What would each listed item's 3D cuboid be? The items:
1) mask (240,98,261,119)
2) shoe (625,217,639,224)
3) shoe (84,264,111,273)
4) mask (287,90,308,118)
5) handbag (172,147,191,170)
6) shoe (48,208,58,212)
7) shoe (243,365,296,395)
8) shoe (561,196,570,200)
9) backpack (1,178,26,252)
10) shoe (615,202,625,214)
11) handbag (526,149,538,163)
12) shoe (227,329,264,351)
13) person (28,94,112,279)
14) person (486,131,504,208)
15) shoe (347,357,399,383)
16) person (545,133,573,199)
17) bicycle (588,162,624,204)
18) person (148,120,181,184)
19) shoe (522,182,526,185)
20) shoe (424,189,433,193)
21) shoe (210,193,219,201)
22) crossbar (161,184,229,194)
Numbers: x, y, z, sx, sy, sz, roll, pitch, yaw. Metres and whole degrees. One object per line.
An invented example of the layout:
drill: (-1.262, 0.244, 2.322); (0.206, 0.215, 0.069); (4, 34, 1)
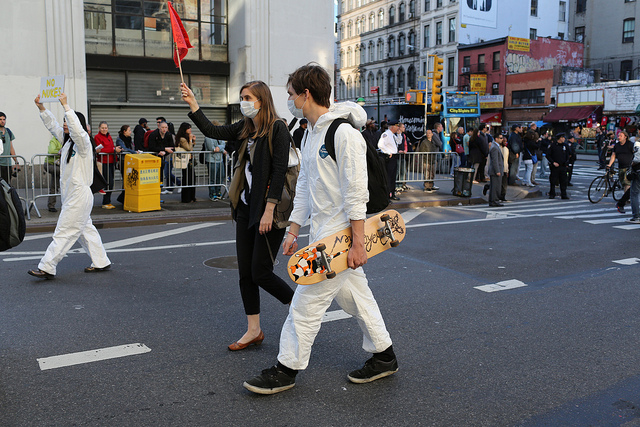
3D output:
mask: (-0.783, -1.180, 6.303); (0.177, 0.137, 0.152); (-35, 31, -23)
shoe: (7.738, 0.170, 13.986); (0.125, 0.143, 0.318); (-4, 10, -25)
shoe: (-3.465, 0.871, 8.810); (0.392, 0.177, 0.147); (3, 0, -21)
mask: (-0.233, -1.093, 5.716); (0.114, 0.194, 0.164); (26, 13, 12)
handbag: (-3.736, -1.441, 14.974); (0.561, 0.603, 0.462); (0, 3, -28)
shoe: (-6.258, -0.087, 13.235); (0.176, 0.075, 0.067); (1, 9, 31)
shoe: (-0.516, 1.660, 5.745); (0.522, 0.241, 0.231); (2, 7, -15)
shoe: (7.938, -0.512, 18.234); (0.252, 0.087, 0.480); (3, 12, 22)
backpack: (-3.567, 0.022, 6.495); (0.251, 0.837, 0.449); (-7, 12, -26)
shoe: (8.244, -0.153, 15.482); (0.110, 0.303, 0.130); (-42, -10, 6)
handbag: (7.880, -2.081, 20.946); (0.114, 0.357, 0.247); (-28, -2, 32)
shoe: (-0.839, 1.484, 6.580); (0.469, 0.211, 0.162); (-2, 4, -26)
person: (-3.952, -0.461, 8.738); (0.920, 2.715, 1.101); (1, 1, 11)
person: (5.139, -1.290, 16.397); (0.548, 2.081, 0.667); (3, 13, 29)
shoe: (0.573, 1.643, 6.026); (0.601, 0.278, 0.208); (-5, 4, -15)
person: (7.830, -1.547, 18.494); (0.740, 2.096, 1.250); (3, 12, 24)
bicycle: (9.046, -0.851, 17.793); (1.559, 1.033, 0.780); (-2, 15, -30)
person: (-4.149, -1.616, 14.960); (0.737, 1.646, 1.067); (-5, 12, -15)
shoe: (7.645, -1.108, 21.142); (0.116, 0.164, 0.039); (15, -19, 2)
shoe: (3.504, -0.728, 18.217); (0.264, 0.053, 0.584); (0, 12, 10)
shoe: (-2.921, -0.447, 15.653); (0.108, 0.150, 0.316); (-4, 7, -27)
crossbar: (-3.375, -0.695, 15.200); (1.731, 0.267, 0.895); (-5, 12, -15)
